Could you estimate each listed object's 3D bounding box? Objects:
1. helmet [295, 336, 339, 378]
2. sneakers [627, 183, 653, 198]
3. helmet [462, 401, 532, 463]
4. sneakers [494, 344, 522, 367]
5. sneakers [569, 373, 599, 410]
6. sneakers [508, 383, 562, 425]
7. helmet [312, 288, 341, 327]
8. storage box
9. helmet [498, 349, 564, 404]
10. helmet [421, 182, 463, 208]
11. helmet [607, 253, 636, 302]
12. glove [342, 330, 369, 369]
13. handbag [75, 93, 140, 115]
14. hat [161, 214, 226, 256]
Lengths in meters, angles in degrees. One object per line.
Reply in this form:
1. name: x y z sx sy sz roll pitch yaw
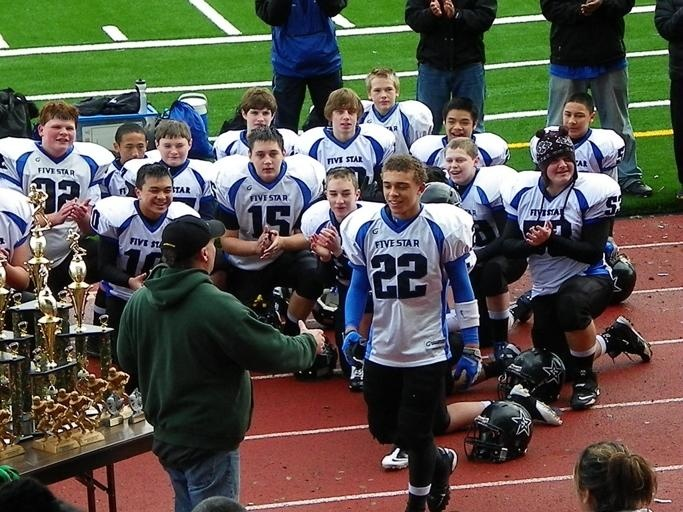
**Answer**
1. helmet: -0.157 0.844 7.117 0.337 0.375 0.409 1 7 14
2. sneakers: 3.625 -0.813 10.071 0.156 0.135 0.312 -6 6 -21
3. helmet: 1.075 1.234 5.936 0.490 0.376 0.363 -1 9 -6
4. sneakers: 1.359 0.809 6.758 0.199 0.176 0.149 -4 6 8
5. sneakers: 1.896 1.065 6.451 0.133 0.169 0.395 -3 9 25
6. sneakers: 1.429 1.120 6.182 0.411 0.186 0.255 28 6 -3
7. helmet: -0.131 0.458 7.548 0.216 0.289 0.271 22 0 -44
8. storage box: -2.869 -1.700 10.531 0.908 0.906 0.566 -7 12 -27
9. helmet: 1.468 0.893 6.354 0.472 0.375 0.352 5 8 -1
10. helmet: 0.713 -0.432 5.937 0.181 0.232 0.218 6 -8 -29
11. helmet: 2.569 0.209 7.632 0.260 0.316 0.287 -24 34 -23
12. glove: 0.104 0.610 5.342 0.156 0.219 0.092 4 12 19
13. handbag: -2.928 -1.927 10.493 0.553 0.189 0.433 -3 6 -2
14. hat: -0.786 -0.115 4.507 0.201 0.168 0.325 18 46 41
